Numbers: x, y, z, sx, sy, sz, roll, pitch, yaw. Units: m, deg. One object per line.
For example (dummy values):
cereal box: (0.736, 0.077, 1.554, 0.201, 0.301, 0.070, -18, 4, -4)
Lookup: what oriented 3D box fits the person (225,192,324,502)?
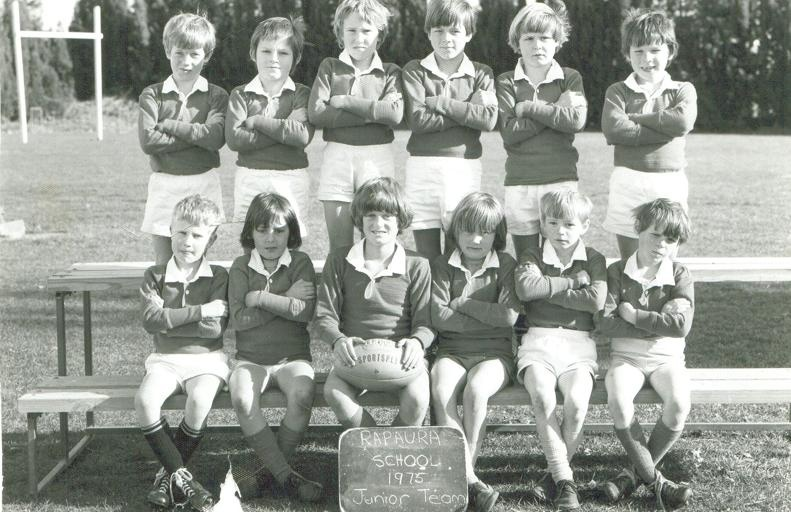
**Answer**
person: (-1.090, 0.836, 10.700, 0.911, 2.599, 1.024, 1, -2, -5)
